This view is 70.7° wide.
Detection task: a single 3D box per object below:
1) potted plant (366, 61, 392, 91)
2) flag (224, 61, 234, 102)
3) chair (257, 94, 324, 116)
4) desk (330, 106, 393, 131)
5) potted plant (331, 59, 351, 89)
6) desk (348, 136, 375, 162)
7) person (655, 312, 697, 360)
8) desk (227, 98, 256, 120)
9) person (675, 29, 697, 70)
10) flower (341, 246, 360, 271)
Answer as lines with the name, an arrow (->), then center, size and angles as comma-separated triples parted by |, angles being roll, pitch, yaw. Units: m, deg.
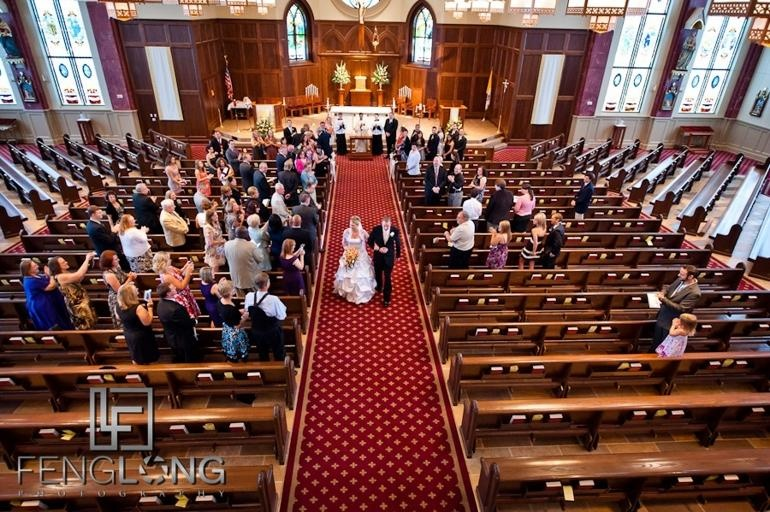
potted plant -> -0.297, -9.063, 27.534 | 0.967, 1.292, 1.018 | -1, 25, -2
flag -> -7.285, -8.052, 25.264 | 0.425, 1.794, 1.354 | -8, 26, -14
chair -> -4.367, -7.483, 27.017 | 3.405, 0.963, 0.756 | -20, 31, -39
desk -> -1.096, -5.882, 23.287 | 2.675, 1.068, 1.000 | 0, 41, -2
potted plant -> -2.275, -9.066, 27.388 | 0.928, 1.327, 1.300 | -3, 24, -4
desk -> -1.042, -4.388, 22.180 | 1.210, 0.874, 0.912 | 0, 34, -2
person -> 6.273, 1.758, 11.718 | 0.495, 1.033, 0.586 | -15, 36, -40
desk -> -6.955, -6.946, 25.772 | 1.244, 1.130, 1.402 | -3, 17, -5
person -> 12.686, -8.741, 23.121 | 0.720, 1.645, 0.271 | -8, 27, -16
flower -> -0.908, 0.026, 13.711 | 0.612, 0.522, 0.524 | -1, 2, 4
